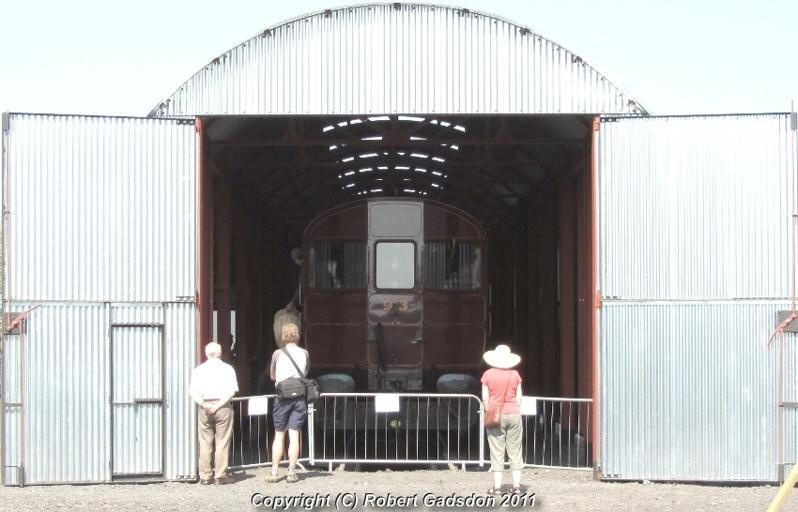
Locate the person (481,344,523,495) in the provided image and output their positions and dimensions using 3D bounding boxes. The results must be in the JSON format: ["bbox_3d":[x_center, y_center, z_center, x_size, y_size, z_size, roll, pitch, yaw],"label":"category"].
[{"bbox_3d":[1.715,2.679,20.059,0.625,2.382,0.594,-2,-10,4],"label":"person"}]

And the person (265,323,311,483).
[{"bbox_3d":[-1.916,2.490,20.949,0.718,2.732,0.978,0,-10,-5],"label":"person"}]

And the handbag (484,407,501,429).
[{"bbox_3d":[1.539,2.622,19.830,0.269,0.334,0.147,10,-18,3],"label":"handbag"}]

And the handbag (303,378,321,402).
[{"bbox_3d":[-1.479,2.282,20.963,0.326,0.492,0.435,-1,-2,1],"label":"handbag"}]

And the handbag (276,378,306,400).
[{"bbox_3d":[-1.827,2.227,20.658,0.516,0.352,0.140,0,-10,-5],"label":"handbag"}]

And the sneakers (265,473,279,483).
[{"bbox_3d":[-2.179,3.787,20.887,0.212,0.163,0.139,4,-8,-5],"label":"sneakers"}]

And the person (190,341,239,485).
[{"bbox_3d":[-3.163,2.692,20.745,0.761,2.348,0.780,1,-10,-10],"label":"person"}]
